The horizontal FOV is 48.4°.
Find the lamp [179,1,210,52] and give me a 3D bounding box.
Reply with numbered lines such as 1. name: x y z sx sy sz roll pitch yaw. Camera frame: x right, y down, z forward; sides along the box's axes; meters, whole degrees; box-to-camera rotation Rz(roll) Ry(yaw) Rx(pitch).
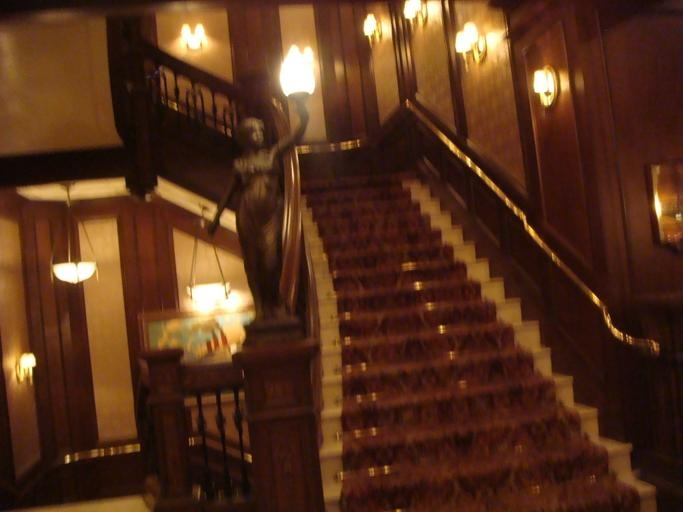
1. lamp: -1.813 -2.693 9.339 0.359 0.334 0.183 -5 -11 -12

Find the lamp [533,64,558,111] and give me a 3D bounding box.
1. lamp: 1.542 -1.284 5.722 0.080 0.323 0.203 -1 -13 -23

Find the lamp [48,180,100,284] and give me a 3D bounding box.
1. lamp: -2.940 -0.213 8.389 0.502 1.051 1.052 -2 -13 -22

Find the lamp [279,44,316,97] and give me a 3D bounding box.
1. lamp: -0.287 -1.165 4.772 0.197 0.342 0.177 -4 -12 -12

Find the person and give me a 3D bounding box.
1. person: -0.512 -0.287 5.356 0.900 1.448 0.408 -14 -13 30

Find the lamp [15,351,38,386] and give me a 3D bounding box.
1. lamp: -3.386 1.210 8.220 0.096 0.336 0.436 -6 -12 -3
